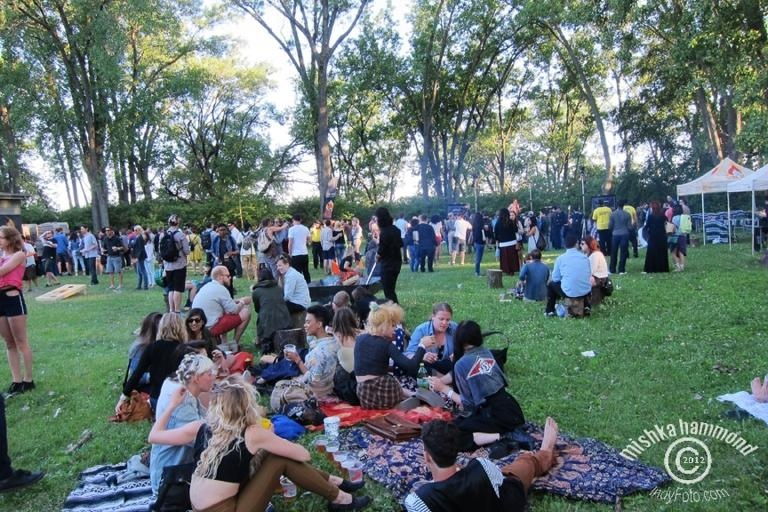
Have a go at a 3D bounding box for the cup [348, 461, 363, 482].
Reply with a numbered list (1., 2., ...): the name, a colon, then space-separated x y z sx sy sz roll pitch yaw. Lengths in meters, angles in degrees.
1. cup: -0.403 3.096 7.934 0.233 0.191 0.238 -1 -4 0

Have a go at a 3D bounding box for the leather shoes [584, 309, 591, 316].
1. leather shoes: 4.676 1.314 12.703 0.091 0.096 0.220 -6 -31 10

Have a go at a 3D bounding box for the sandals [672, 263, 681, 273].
1. sandals: 8.925 0.374 16.891 0.148 0.176 0.411 -3 -9 20

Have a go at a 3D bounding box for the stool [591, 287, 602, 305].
1. stool: 5.160 0.967 13.412 0.317 0.421 0.131 -5 5 -22

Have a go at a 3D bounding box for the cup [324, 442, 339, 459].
1. cup: -0.768 2.951 8.359 0.216 0.223 0.218 -2 5 0

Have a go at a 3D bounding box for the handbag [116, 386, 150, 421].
1. handbag: -4.304 2.592 9.603 0.517 0.532 0.221 -21 14 -21

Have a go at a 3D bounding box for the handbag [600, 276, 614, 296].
1. handbag: 5.462 0.747 13.537 0.205 0.504 0.596 -1 4 28

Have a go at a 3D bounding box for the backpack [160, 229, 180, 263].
1. backpack: -5.392 -0.222 13.888 0.403 0.800 0.342 0 5 36

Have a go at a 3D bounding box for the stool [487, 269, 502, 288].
1. stool: 3.227 0.705 16.498 0.479 0.524 0.487 -1 0 -43

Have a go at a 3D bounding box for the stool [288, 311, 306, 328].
1. stool: -1.915 1.422 12.281 0.299 0.331 0.346 -1 -5 19

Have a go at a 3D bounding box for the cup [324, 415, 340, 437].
1. cup: -0.807 2.640 8.533 0.277 0.298 0.270 0 -1 0

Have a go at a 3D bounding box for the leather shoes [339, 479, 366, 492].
1. leather shoes: -0.473 3.250 7.901 0.404 0.167 0.137 -5 9 -9

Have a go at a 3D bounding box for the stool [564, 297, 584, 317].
1. stool: 4.369 1.181 12.682 0.407 0.444 0.232 -2 4 19

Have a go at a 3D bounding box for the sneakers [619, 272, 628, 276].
1. sneakers: 7.333 0.551 17.008 0.185 0.082 0.061 -8 30 -10

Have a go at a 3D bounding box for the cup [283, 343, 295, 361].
1. cup: -1.709 1.736 10.044 0.260 0.199 0.264 -1 -2 0

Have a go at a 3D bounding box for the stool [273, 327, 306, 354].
1. stool: -1.928 1.721 11.496 0.835 0.639 0.464 1 2 1

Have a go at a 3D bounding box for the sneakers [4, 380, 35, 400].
1. sneakers: -6.743 2.467 10.290 0.527 0.208 0.192 6 -3 -44
